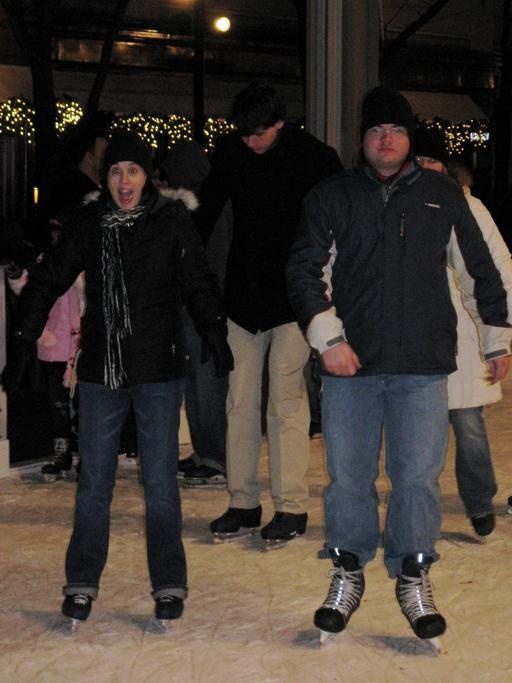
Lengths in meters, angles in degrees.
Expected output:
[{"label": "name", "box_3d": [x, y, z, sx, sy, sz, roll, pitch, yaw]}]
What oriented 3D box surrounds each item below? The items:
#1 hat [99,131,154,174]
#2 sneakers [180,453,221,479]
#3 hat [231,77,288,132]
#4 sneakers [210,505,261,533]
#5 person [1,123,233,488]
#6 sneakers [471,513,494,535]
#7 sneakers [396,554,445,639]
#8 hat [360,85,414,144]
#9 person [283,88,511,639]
[{"label": "hat", "box_3d": [-0.416, -0.586, 2.047, 0.120, 0.088, 0.120, -6, 2, 21]}, {"label": "sneakers", "box_3d": [-0.398, 0.808, 4.143, 0.327, 0.118, 0.119, 9, -22, 6]}, {"label": "hat", "box_3d": [0.039, -1.011, 2.821, 0.199, 0.225, 0.212, 7, -41, 20]}, {"label": "sneakers", "box_3d": [-0.088, 0.831, 3.088, 0.269, 0.097, 0.095, 3, -5, -37]}, {"label": "person", "box_3d": [-0.418, -0.256, 2.045, 0.683, 0.805, 0.194, 0, -1, -6]}, {"label": "sneakers", "box_3d": [1.019, 0.816, 2.955, 0.080, 0.111, 0.121, -3, -16, 10]}, {"label": "sneakers", "box_3d": [0.457, 0.710, 1.824, 0.119, 0.220, 0.156, -1, -1, 7]}, {"label": "hat", "box_3d": [0.388, -0.698, 1.951, 0.155, 0.126, 0.131, 7, 10, -5]}, {"label": "person", "box_3d": [0.419, 0.023, 1.898, 0.655, 1.574, 0.279, -1, -1, 1]}]
